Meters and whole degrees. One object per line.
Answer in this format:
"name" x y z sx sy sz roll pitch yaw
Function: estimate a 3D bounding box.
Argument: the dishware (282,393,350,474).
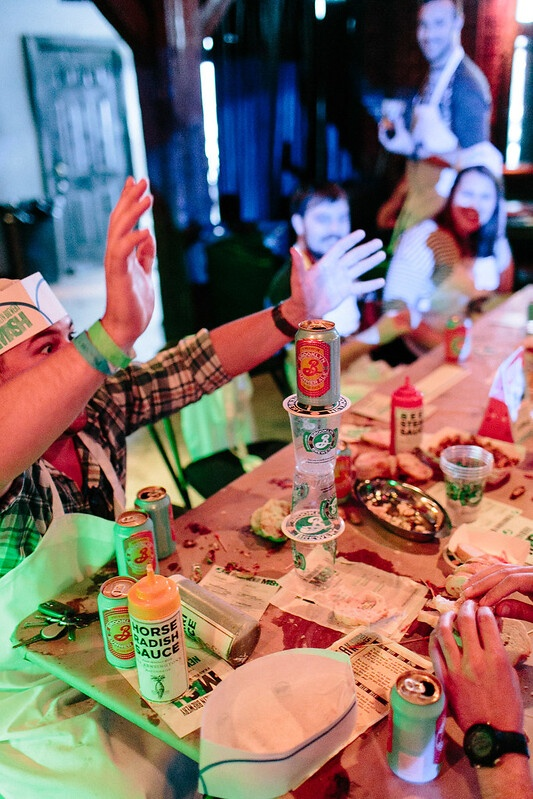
"dishware" 0.094 0.061 1.132 0.109 0.112 0.101 0 21 23

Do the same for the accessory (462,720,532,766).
"accessory" 0.275 0.415 0.779 0.072 0.044 0.074 18 -25 -33

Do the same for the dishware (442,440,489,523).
"dishware" 0.425 0.181 1.383 0.096 0.132 0.096 18 36 34

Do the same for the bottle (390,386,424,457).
"bottle" 0.343 0.057 1.583 0.080 0.199 0.077 -3 35 2

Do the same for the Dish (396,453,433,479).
"Dish" 0.345 0.160 1.517 0.064 0.017 0.063 19 27 -24

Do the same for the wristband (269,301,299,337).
"wristband" 0.054 -0.189 1.528 0.021 0.074 0.077 -28 -27 2

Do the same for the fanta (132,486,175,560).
"fanta" -0.203 0.224 1.158 0.077 0.131 0.074 9 35 12

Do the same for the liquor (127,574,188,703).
"liquor" -0.150 0.322 0.892 0.075 0.174 0.071 -5 11 2

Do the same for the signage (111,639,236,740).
"signage" -0.127 0.392 0.883 0.201 0.003 0.138 29 26 37

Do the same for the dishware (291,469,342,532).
"dishware" 0.089 0.188 1.190 0.115 0.116 0.104 5 -4 4

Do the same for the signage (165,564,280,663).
"signage" -0.067 0.337 1.008 0.063 0.066 0.164 -56 23 -12

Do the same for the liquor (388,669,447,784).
"liquor" 0.180 0.394 0.783 0.071 0.120 0.069 -15 23 -32

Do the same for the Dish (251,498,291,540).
"Dish" 0.005 0.236 1.279 0.076 0.021 0.070 -21 41 9

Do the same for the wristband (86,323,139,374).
"wristband" -0.267 -0.094 1.051 0.031 0.075 0.078 -46 -20 1

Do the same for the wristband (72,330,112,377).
"wristband" -0.277 -0.071 1.023 0.050 0.071 0.036 -10 16 -13

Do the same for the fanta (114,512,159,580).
"fanta" -0.218 0.249 1.084 0.069 0.114 0.063 -4 14 -7

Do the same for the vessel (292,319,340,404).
"vessel" 0.085 -0.057 1.065 0.068 0.138 0.066 -11 17 -17
